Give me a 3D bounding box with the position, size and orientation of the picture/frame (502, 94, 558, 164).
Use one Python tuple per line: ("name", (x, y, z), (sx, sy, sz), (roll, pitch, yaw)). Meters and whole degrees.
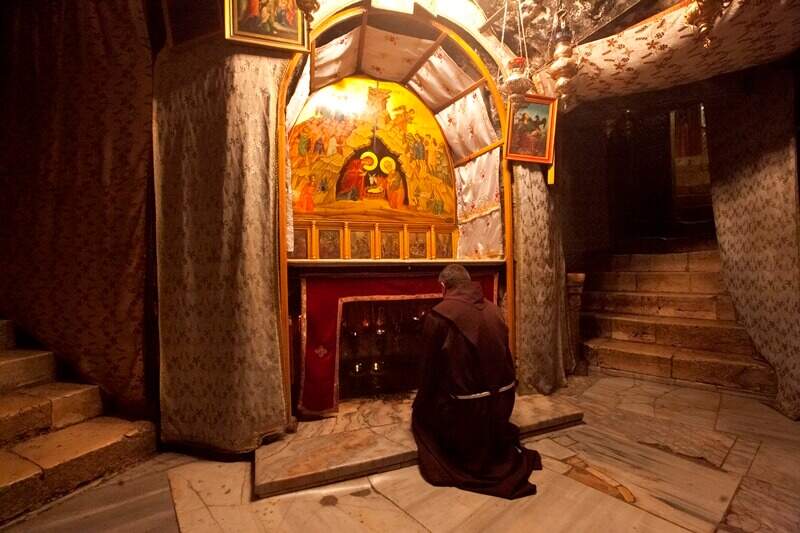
("picture/frame", (1.533, -1.644, 6.603), (0.843, 1.028, 0.068), (-1, 6, -19))
